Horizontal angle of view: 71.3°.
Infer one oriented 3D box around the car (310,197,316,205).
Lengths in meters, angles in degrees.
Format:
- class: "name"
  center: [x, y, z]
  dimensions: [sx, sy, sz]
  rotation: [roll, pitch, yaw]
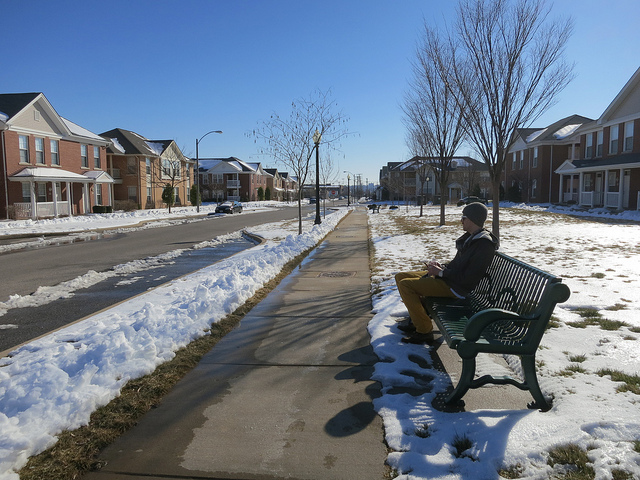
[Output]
- class: "car"
  center: [-1.171, -7.038, 78.119]
  dimensions: [1.334, 1.106, 3.161]
  rotation: [-1, 6, -4]
